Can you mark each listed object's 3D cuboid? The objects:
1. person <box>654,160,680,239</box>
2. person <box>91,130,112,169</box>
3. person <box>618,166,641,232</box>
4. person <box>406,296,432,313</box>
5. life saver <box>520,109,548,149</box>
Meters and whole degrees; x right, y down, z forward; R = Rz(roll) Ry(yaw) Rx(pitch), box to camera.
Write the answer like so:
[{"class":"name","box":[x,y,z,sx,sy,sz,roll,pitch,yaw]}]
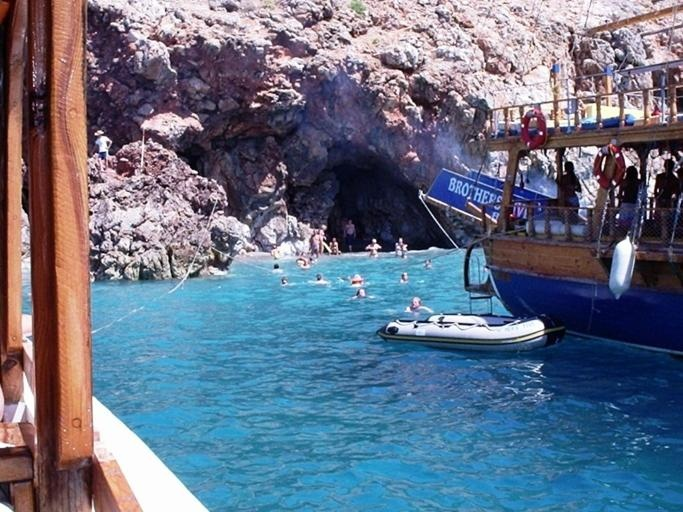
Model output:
[{"class":"person","box":[6.694,-1.236,15.900,0.497,1.464,2.983,3,10,22]},{"class":"person","box":[-9.209,-4.115,29.902,0.615,1.421,3.496,-4,10,-17]},{"class":"person","box":[5.983,-1.181,16.092,0.389,1.293,3.350,2,10,20]},{"class":"person","box":[2.104,1.295,20.958,0.864,0.354,1.103,4,7,12]},{"class":"life saver","box":[4.254,-2.779,17.110,0.199,0.799,0.724,-1,-28,-17]}]
